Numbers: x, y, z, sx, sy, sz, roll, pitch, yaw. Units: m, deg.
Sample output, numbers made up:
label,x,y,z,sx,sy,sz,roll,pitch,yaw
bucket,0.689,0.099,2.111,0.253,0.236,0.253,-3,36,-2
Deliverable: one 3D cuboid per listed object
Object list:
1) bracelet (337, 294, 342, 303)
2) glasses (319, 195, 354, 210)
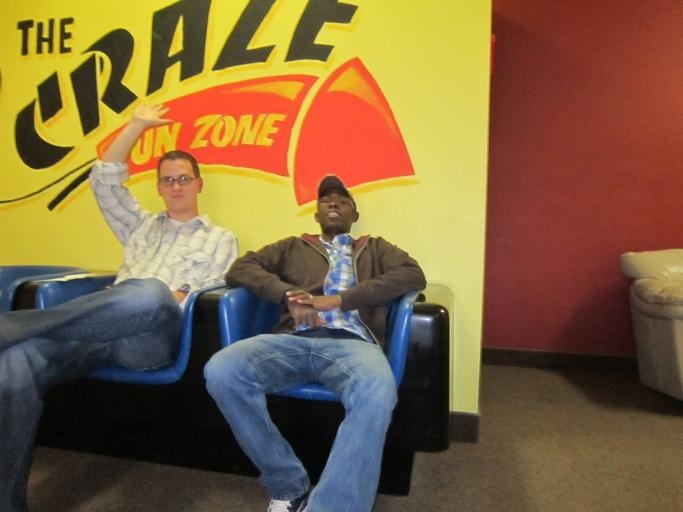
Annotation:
label,x,y,z,sx,sy,sz,roll,pitch,yaw
bracelet,-0.010,0.194,2.527,0.008,0.029,0.021,3,-8,-40
glasses,-0.020,-0.286,2.852,0.086,0.043,0.132,6,-9,6
